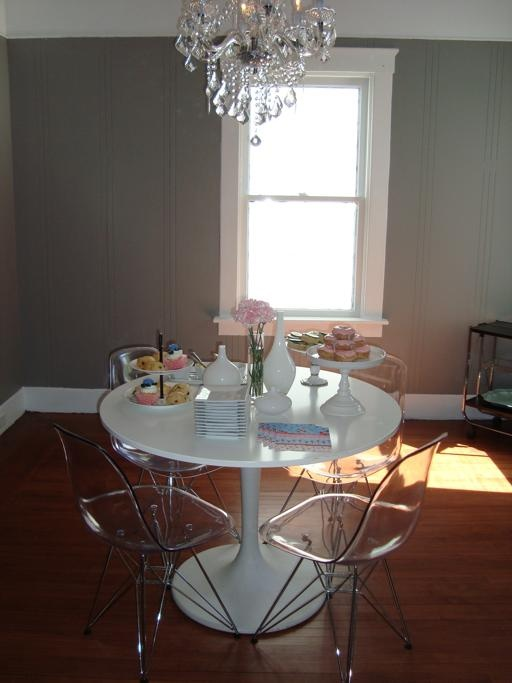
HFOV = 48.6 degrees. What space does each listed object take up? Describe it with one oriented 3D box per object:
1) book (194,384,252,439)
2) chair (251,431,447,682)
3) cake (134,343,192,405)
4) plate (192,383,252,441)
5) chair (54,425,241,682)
[{"bbox_3d":[-0.097,0.199,1.634,0.111,0.073,0.161,0,14,2],"label":"book"},{"bbox_3d":[0.241,0.561,1.683,0.479,0.767,0.668,2,11,4],"label":"chair"},{"bbox_3d":[-0.349,0.120,2.003,0.217,0.227,0.214,3,7,12],"label":"cake"},{"bbox_3d":[-0.096,0.201,1.656,0.111,0.077,0.161,1,17,3],"label":"plate"},{"bbox_3d":[-0.341,0.690,1.757,0.443,0.719,0.537,21,29,40],"label":"chair"}]
